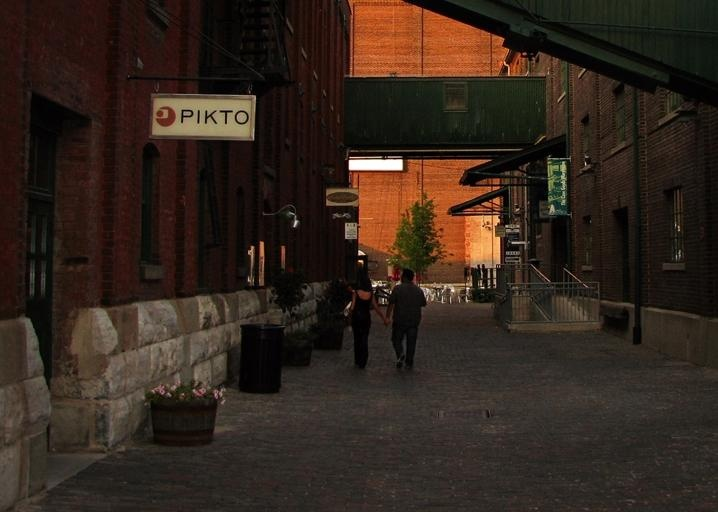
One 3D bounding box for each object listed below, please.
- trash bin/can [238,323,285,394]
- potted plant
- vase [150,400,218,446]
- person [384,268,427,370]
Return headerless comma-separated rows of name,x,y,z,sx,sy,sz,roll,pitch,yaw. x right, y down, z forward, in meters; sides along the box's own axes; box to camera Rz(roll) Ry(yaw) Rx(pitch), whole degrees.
trash bin/can,-1.802,1.862,15.132,0.908,1.526,1.114,1,-1,-14
potted plant,-1.247,1.617,21.076,1.950,2.311,1.045,1,0,-8
vase,-2.277,2.160,10.617,0.579,0.441,0.649,0,-12,6
person,1.015,1.379,17.794,0.793,2.158,1.122,0,1,3
